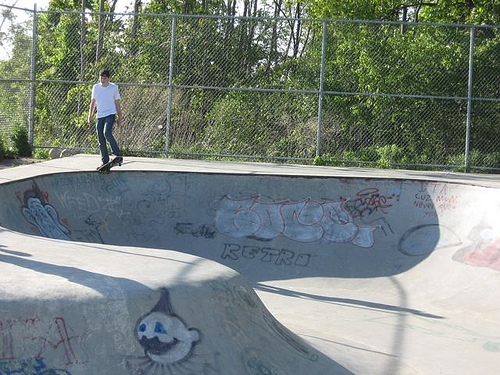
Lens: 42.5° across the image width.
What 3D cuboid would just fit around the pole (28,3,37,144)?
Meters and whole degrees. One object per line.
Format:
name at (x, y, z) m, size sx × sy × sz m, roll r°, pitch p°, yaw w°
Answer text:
pole at (-5.507, -2.872, 16.328) m, size 0.221 × 3.493 × 0.738 m, roll -1°, pitch 7°, yaw -19°

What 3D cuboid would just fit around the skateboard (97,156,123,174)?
skateboard at (-2.757, -0.448, 12.857) m, size 0.556 × 0.199 × 0.236 m, roll -35°, pitch 60°, yaw -26°
